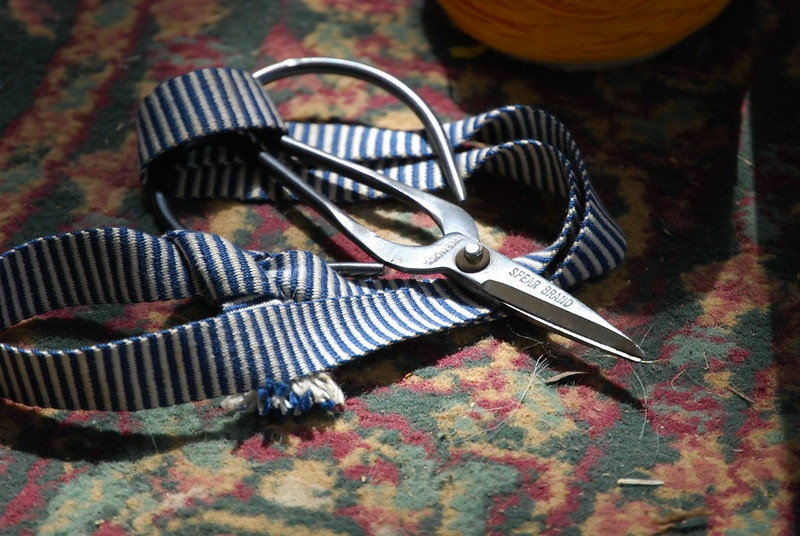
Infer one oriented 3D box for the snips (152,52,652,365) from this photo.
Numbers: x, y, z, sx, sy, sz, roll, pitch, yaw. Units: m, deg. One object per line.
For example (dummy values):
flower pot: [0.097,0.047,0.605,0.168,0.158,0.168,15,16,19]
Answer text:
snips: [-0.016,-0.049,0.898,0.508,0.084,0.251,23,56,21]
